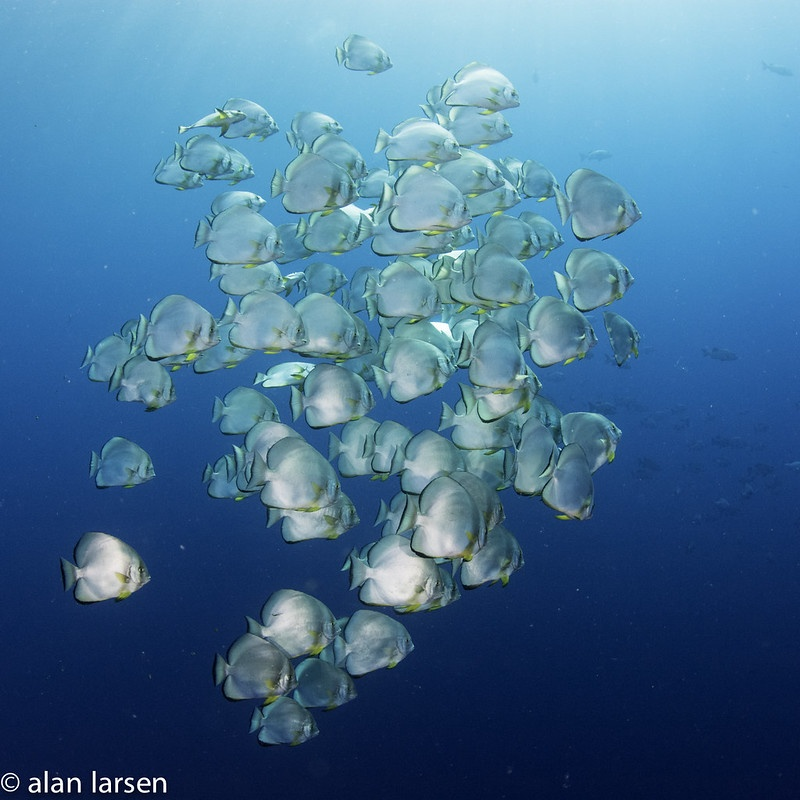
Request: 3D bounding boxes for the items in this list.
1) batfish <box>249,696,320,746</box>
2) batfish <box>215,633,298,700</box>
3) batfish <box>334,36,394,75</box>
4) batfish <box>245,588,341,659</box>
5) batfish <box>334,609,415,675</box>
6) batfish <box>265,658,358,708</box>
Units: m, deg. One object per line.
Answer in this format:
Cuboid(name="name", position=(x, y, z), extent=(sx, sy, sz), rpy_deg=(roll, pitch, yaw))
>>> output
Cuboid(name="batfish", position=(-0.778, 2.158, 6.538), extent=(0.432, 0.409, 0.220), rpy_deg=(1, 34, -7))
Cuboid(name="batfish", position=(-0.934, 1.759, 6.319), extent=(0.767, 0.425, 0.219), rpy_deg=(-7, -16, 33))
Cuboid(name="batfish", position=(-0.278, -2.672, 7.566), extent=(0.443, 0.308, 0.254), rpy_deg=(1, 33, -7))
Cuboid(name="batfish", position=(-0.699, 1.475, 6.452), extent=(0.822, 0.420, 0.282), rpy_deg=(-13, -14, 27))
Cuboid(name="batfish", position=(-0.188, 1.595, 6.463), extent=(0.287, 0.378, 0.657), rpy_deg=(-16, -19, 41))
Cuboid(name="batfish", position=(-0.567, 1.930, 6.597), extent=(0.665, 0.317, 0.133), rpy_deg=(-5, -5, 22))
